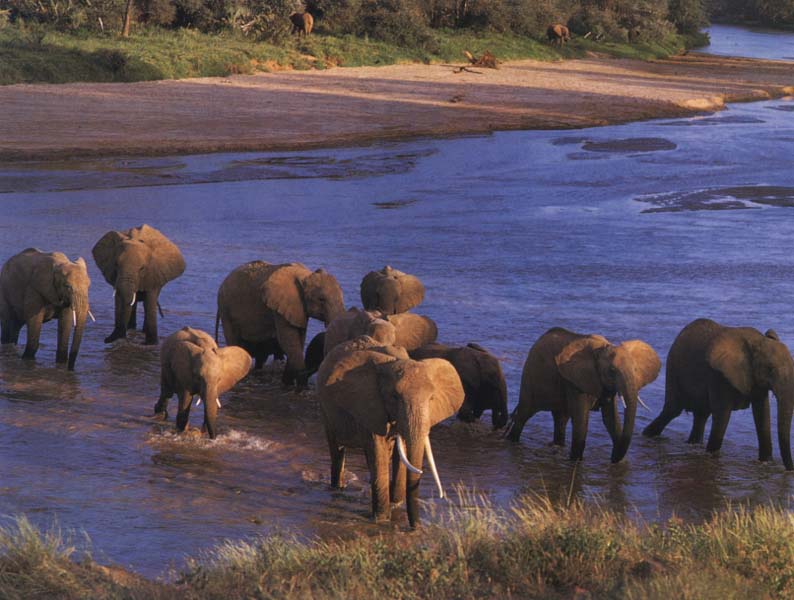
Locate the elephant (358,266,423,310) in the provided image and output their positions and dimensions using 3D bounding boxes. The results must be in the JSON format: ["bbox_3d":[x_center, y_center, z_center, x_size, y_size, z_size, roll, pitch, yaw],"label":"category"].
[{"bbox_3d":[-0.122,-0.176,33.180,1.252,0.851,0.744,3,7,-2],"label":"elephant"}]

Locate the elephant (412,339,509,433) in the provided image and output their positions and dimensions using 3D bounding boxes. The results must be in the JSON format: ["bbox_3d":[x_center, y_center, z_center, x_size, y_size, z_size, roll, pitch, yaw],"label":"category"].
[{"bbox_3d":[1.226,1.705,32.783,1.861,1.279,1.318,-3,10,-10],"label":"elephant"}]

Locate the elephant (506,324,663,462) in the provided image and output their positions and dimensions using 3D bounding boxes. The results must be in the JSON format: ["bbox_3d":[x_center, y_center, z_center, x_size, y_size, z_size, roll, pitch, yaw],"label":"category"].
[{"bbox_3d":[3.726,1.805,31.942,2.853,2.175,2.020,3,5,45],"label":"elephant"}]

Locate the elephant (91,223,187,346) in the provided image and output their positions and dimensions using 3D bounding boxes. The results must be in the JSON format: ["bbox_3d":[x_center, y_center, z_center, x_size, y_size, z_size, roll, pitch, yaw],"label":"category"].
[{"bbox_3d":[-5.560,-0.325,34.939,1.756,2.504,0.987,2,7,-11],"label":"elephant"}]
